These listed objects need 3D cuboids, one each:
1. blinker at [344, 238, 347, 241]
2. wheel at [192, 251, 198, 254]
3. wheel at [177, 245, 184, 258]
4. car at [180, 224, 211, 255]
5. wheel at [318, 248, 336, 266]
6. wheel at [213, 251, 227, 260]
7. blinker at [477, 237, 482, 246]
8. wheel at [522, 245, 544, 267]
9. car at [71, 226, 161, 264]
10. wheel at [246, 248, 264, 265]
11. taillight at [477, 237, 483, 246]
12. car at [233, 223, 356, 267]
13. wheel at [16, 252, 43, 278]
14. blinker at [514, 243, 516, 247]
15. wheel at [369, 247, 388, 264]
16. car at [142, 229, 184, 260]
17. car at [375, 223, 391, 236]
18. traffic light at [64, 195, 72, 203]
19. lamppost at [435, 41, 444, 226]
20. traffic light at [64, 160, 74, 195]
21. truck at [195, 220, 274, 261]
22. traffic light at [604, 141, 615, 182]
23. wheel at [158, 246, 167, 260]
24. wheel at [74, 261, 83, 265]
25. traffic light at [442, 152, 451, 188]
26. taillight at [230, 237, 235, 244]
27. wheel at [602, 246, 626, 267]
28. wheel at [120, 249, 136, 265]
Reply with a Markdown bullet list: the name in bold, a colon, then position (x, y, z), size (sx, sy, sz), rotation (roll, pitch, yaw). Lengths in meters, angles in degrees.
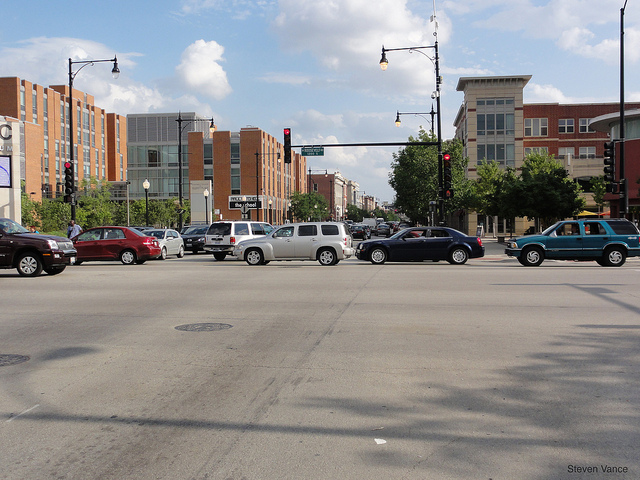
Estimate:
- **blinker**: position (0.965, -0.021, 26.214), size (0.043, 0.097, 0.127), rotation (6, 10, 42)
- **wheel**: position (-6.630, 0.639, 37.092), size (0.176, 0.128, 0.102), rotation (-1, -9, -6)
- **wheel**: position (-6.736, 0.551, 33.574), size (0.204, 0.545, 0.539), rotation (1, 6, 9)
- **car**: position (-6.665, -0.100, 37.479), size (1.308, 1.154, 2.887), rotation (0, -1, 4)
- **wheel**: position (0.273, 0.618, 26.145), size (0.600, 0.616, 0.219), rotation (0, -7, 8)
- **wheel**: position (-4.442, 0.659, 30.860), size (0.542, 0.475, 1.057), rotation (-1, 8, -8)
- **blinker**: position (6.622, 0.058, 29.040), size (0.112, 0.324, 0.229), rotation (-8, -20, 28)
- **wheel**: position (7.621, 0.537, 25.028), size (0.666, 0.683, 0.241), rotation (-6, 1, 8)
- **car**: position (-8.028, 0.192, 27.825), size (3.022, 0.986, 1.441), rotation (3, -1, -1)
- **wheel**: position (-2.472, 0.607, 26.557), size (0.594, 0.608, 0.214), rotation (3, 4, 4)
- **taillight**: position (6.745, 0.065, 29.598), size (0.136, 0.349, 0.253), rotation (-15, -20, 19)
- **car**: position (-0.924, 0.128, 26.677), size (3.988, 1.389, 1.739), rotation (2, -1, 4)
- **wheel**: position (-8.810, 0.724, 21.171), size (0.688, 0.703, 0.227), rotation (2, -6, -4)
- **blinker**: position (6.980, 0.190, 25.099), size (0.095, 0.096, 0.176), rotation (3, 23, -1)
- **wheel**: position (2.198, 0.550, 26.431), size (0.604, 0.619, 0.232), rotation (2, -6, 3)
- **car**: position (-7.191, 0.070, 32.304), size (0.960, 0.739, 2.000), rotation (-1, -2, 11)
- **car**: position (7.499, -1.190, 84.019), size (1.331, 0.979, 2.921), rotation (0, 8, 8)
- **traffic light**: position (-11.347, -1.864, 31.513), size (0.299, 0.368, 0.863), rotation (-3, 8, -18)
- **lamppost**: position (6.097, -4.323, 35.841), size (0.561, 9.775, 0.911), rotation (1, 3, 7)
- **traffic light**: position (-11.274, -2.760, 31.384), size (0.335, 1.425, 0.798), rotation (-3, 8, -22)
- **truck**: position (-3.717, -0.001, 30.813), size (1.638, 1.251, 3.013), rotation (0, 6, 33)
- **traffic light**: position (11.710, -3.133, 28.280), size (0.359, 1.596, 0.887), rotation (3, 8, 24)
- **wheel**: position (-6.894, 0.570, 30.481), size (0.192, 0.599, 0.593), rotation (-2, -4, 6)
- **wheel**: position (-9.609, 0.908, 27.750), size (0.197, 0.155, 0.761), rotation (-2, 8, -12)
- **traffic light**: position (6.010, -3.274, 33.150), size (0.307, 1.605, 0.505), rotation (0, 7, 3)
- **taillight**: position (-3.798, 0.017, 30.227), size (0.233, 0.211, 0.402), rotation (1, -7, -8)
- **wheel**: position (10.299, 0.544, 24.471), size (0.668, 0.684, 0.244), rotation (-1, -3, 3)
- **wheel**: position (-7.581, 0.642, 27.582), size (0.578, 0.593, 0.242), rotation (1, 1, 6)
